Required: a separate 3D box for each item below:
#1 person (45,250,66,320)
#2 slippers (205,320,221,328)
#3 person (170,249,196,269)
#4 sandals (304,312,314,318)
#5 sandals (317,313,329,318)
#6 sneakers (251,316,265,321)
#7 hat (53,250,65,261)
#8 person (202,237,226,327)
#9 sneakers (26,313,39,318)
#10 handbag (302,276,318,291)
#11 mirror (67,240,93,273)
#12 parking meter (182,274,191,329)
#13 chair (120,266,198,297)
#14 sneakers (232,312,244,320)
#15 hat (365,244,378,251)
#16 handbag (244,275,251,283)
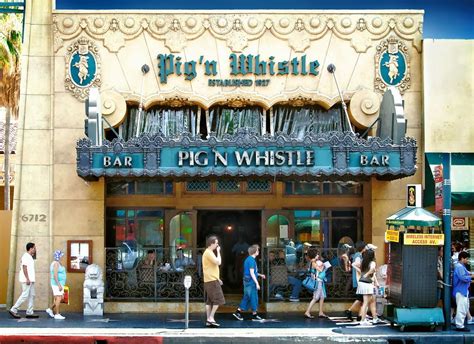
[{"bbox_3d":[-5.746,3.568,24.991,0.597,2.111,1.354,2,-7,-13],"label":"person"},{"bbox_3d":[-0.740,4.558,23.653,0.379,0.145,0.193,0,-5,1],"label":"slippers"},{"bbox_3d":[-1.839,2.955,26.583,0.722,0.752,0.713,-2,-4,0],"label":"person"},{"bbox_3d":[2.259,4.514,24.856,0.257,0.092,0.144,4,-9,36],"label":"sandals"},{"bbox_3d":[2.739,4.535,24.907,0.322,0.110,0.117,-1,0,-5],"label":"sandals"},{"bbox_3d":[0.648,4.536,24.389,0.457,0.198,0.155,2,-2,4],"label":"sneakers"},{"bbox_3d":[-5.552,2.624,24.633,0.339,0.336,0.112,-1,-20,27],"label":"hat"},{"bbox_3d":[-0.740,3.301,23.871,0.618,2.693,0.621,2,-7,-16],"label":"person"},{"bbox_3d":[-6.465,4.514,24.821,0.432,0.176,0.150,1,2,-8],"label":"sneakers"},{"bbox_3d":[2.374,3.502,24.907,0.478,0.369,0.191,44,25,23],"label":"handbag"},{"bbox_3d":[-5.225,2.812,26.062,1.092,1.394,0.232,0,-3,-5],"label":"mirror"},{"bbox_3d":[-1.474,3.886,23.410,0.307,1.599,0.158,2,-2,28],"label":"parking meter"},{"bbox_3d":[-2.565,3.678,26.001,2.612,1.059,0.946,1,-7,-11],"label":"chair"},{"bbox_3d":[0.092,4.522,24.598,0.456,0.206,0.149,37,-10,-38],"label":"sneakers"},{"bbox_3d":[4.223,2.344,24.230,0.409,0.146,0.259,-1,0,-13],"label":"hat"},{"bbox_3d":[0.320,3.273,24.234,0.245,0.128,0.299,4,-2,-1],"label":"handbag"}]
